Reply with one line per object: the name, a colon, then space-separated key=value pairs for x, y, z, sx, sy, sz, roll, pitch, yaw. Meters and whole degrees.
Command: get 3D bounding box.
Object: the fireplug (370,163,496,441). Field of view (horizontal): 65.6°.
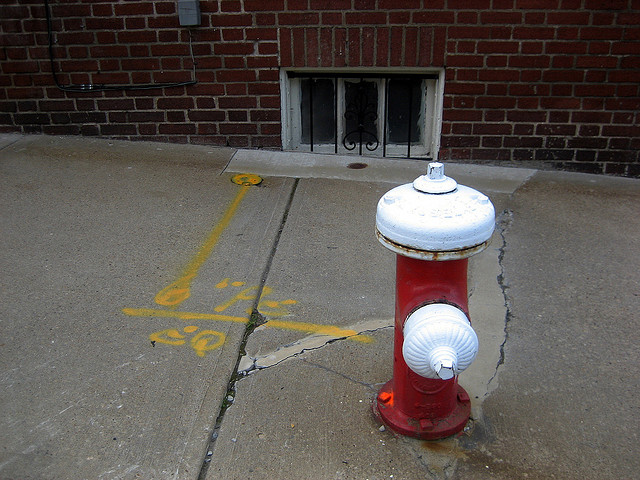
fireplug: x=0.584 y=0.369 z=2.678 sx=0.603 sy=1.519 sz=0.710 roll=5 pitch=24 yaw=14
